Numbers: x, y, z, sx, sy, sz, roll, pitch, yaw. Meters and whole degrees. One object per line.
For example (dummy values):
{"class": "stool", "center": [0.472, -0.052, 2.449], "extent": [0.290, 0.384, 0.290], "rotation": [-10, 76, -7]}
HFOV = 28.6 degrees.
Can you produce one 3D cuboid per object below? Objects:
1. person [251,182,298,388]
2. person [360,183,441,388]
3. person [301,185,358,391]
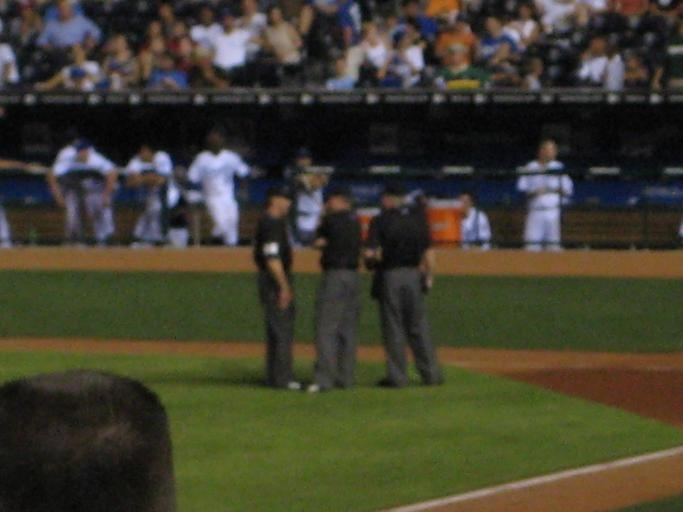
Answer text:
{"class": "person", "center": [-0.742, 0.413, 15.344], "extent": [0.509, 2.313, 0.458], "rotation": [0, 4, 1]}
{"class": "person", "center": [0.692, 0.383, 15.375], "extent": [0.818, 2.318, 0.645], "rotation": [1, 4, 3]}
{"class": "person", "center": [-0.079, 0.417, 15.297], "extent": [0.603, 2.331, 0.338], "rotation": [0, 4, 0]}
